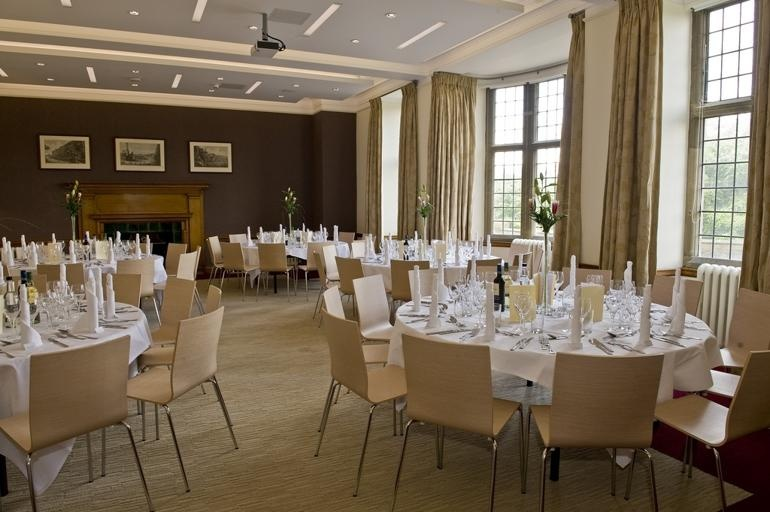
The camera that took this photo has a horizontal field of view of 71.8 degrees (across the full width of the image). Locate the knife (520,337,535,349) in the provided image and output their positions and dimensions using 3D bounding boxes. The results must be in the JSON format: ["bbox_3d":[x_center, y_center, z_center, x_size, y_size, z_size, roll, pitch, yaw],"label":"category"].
[{"bbox_3d":[1.234,0.750,4.650,0.042,0.035,0.306,3,10,26],"label":"knife"}]

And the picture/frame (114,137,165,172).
[{"bbox_3d":[-5.815,-2.401,12.791,1.127,0.891,0.031,-6,39,-32],"label":"picture/frame"}]

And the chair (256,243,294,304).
[{"bbox_3d":[-2.397,0.195,11.754,0.773,1.081,3.197,-3,5,-11],"label":"chair"}]

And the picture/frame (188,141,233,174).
[{"bbox_3d":[-4.394,-2.455,13.327,0.799,0.634,0.031,-1,3,-16],"label":"picture/frame"}]

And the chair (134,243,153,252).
[{"bbox_3d":[-4.349,-0.142,9.628,0.182,0.206,0.238,1,-13,-14],"label":"chair"}]

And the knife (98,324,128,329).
[{"bbox_3d":[-2.576,0.673,5.090,0.263,0.006,0.087,1,24,6],"label":"knife"}]

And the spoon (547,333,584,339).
[{"bbox_3d":[1.589,0.707,4.706,0.251,0.047,0.044,-5,12,42],"label":"spoon"}]

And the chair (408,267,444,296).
[{"bbox_3d":[0.462,0.330,6.530,0.331,0.424,0.341,2,-3,-41],"label":"chair"}]

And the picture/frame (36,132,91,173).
[{"bbox_3d":[-7.363,-2.369,12.206,0.896,0.736,0.036,-2,5,-15],"label":"picture/frame"}]

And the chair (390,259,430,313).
[{"bbox_3d":[0.469,0.366,7.697,0.513,1.016,0.580,3,6,29],"label":"chair"}]

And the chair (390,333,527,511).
[{"bbox_3d":[0.624,1.464,4.633,0.979,1.780,1.014,6,20,26],"label":"chair"}]

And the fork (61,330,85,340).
[{"bbox_3d":[-2.822,0.724,4.865,0.275,0.044,0.043,3,-21,29],"label":"fork"}]

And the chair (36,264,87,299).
[{"bbox_3d":[-3.727,0.297,6.159,0.335,0.446,0.351,1,5,-3],"label":"chair"}]

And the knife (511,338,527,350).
[{"bbox_3d":[1.164,0.765,4.606,0.058,0.026,0.207,4,17,31],"label":"knife"}]

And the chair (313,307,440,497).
[{"bbox_3d":[-0.051,1.435,5.028,1.070,1.881,0.998,-11,18,-30],"label":"chair"}]

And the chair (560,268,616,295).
[{"bbox_3d":[2.495,0.254,6.540,0.460,0.373,0.490,-1,-1,6],"label":"chair"}]

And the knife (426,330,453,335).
[{"bbox_3d":[0.503,0.706,4.887,0.251,0.015,0.073,-1,3,-31],"label":"knife"}]

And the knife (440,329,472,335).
[{"bbox_3d":[0.645,0.697,4.915,0.333,0.025,0.099,-3,6,9],"label":"knife"}]

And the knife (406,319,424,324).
[{"bbox_3d":[0.294,0.636,5.215,0.168,0.009,0.056,-3,8,-21],"label":"knife"}]

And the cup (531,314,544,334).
[{"bbox_3d":[1.407,0.628,4.938,0.144,0.173,0.149,-1,3,0],"label":"cup"}]

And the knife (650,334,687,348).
[{"bbox_3d":[2.493,0.747,4.712,0.079,0.023,0.238,-15,13,-32],"label":"knife"}]

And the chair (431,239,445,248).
[{"bbox_3d":[0.921,-0.209,9.293,0.155,0.168,0.299,-2,-6,-4],"label":"chair"}]

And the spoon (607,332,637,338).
[{"bbox_3d":[2.125,0.713,4.807,0.155,0.024,0.083,-2,2,-4],"label":"spoon"}]

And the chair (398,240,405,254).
[{"bbox_3d":[0.274,-0.111,8.768,0.140,0.254,0.320,-2,5,1],"label":"chair"}]
